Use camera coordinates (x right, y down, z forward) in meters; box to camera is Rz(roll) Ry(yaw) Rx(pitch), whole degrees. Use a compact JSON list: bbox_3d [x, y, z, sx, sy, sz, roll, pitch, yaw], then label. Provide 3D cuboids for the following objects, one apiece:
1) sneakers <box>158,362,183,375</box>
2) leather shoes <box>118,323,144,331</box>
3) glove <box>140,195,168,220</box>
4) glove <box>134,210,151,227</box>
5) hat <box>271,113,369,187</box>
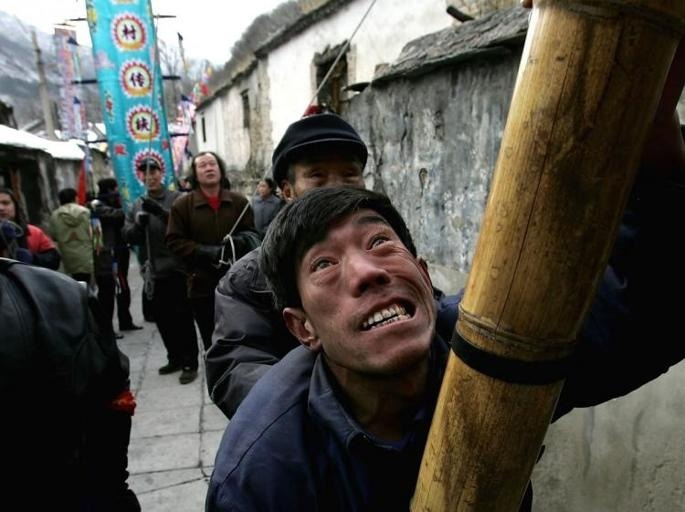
[{"bbox_3d":[-1.676,1.099,5.550,0.231,0.113,0.083,1,-4,-43],"label":"sneakers"},{"bbox_3d":[-2.588,0.878,6.936,0.271,0.127,0.095,-1,7,-27],"label":"leather shoes"},{"bbox_3d":[-1.748,-0.447,5.291,0.222,0.229,0.115,-6,12,-23],"label":"glove"},{"bbox_3d":[-1.867,-0.361,5.312,0.120,0.157,0.154,-2,2,-34],"label":"glove"},{"bbox_3d":[-0.130,-0.571,2.818,0.413,0.228,0.616,-9,-6,-8],"label":"hat"}]
